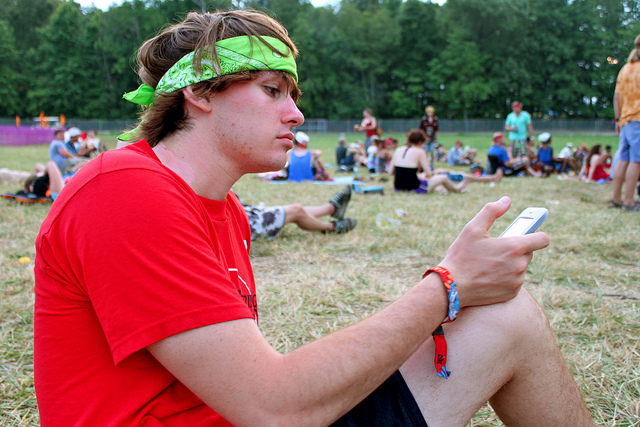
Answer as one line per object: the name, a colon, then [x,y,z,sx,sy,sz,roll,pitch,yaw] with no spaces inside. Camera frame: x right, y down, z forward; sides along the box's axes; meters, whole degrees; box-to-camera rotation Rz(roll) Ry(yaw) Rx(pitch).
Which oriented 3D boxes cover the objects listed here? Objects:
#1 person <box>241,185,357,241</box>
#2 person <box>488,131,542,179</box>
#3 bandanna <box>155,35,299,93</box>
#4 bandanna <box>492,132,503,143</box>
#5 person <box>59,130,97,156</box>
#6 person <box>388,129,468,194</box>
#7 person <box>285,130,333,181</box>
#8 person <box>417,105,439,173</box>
person: [-0.212,0.036,6.376,0.987,0.312,0.666,-3,4,-35]
person: [4.423,-1.321,13.297,1.074,1.112,0.832,-12,14,-4]
bandanna: [-0.434,-0.702,2.759,0.681,0.291,0.253,1,9,-15]
bandanna: [4.190,-1.765,13.643,0.200,0.211,0.158,7,10,22]
person: [-5.285,-1.442,12.676,0.795,0.444,0.576,17,3,27]
person: [2.043,-0.834,10.225,0.993,1.072,1.471,1,-1,-34]
person: [-0.426,-1.264,13.150,1.483,1.036,0.816,6,14,-8]
person: [2.950,-1.975,15.513,0.584,1.734,0.545,4,12,35]
